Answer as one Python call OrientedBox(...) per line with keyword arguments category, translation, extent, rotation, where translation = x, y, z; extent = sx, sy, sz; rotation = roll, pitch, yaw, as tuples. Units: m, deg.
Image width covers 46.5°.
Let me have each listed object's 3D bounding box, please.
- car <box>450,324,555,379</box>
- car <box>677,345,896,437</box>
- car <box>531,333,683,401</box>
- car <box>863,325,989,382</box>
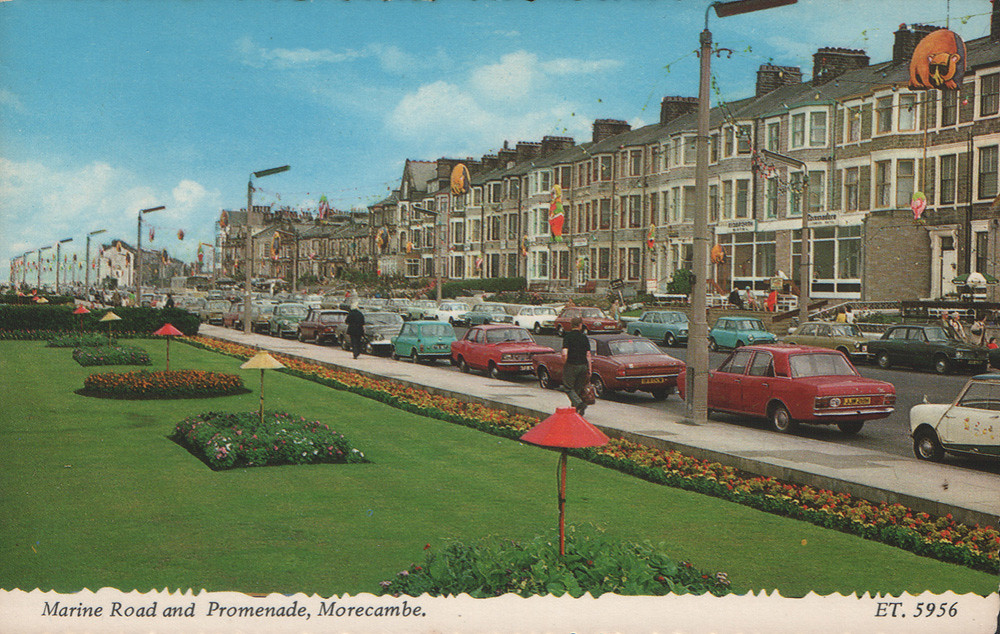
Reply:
OrientedBox(category="car", translation=(-0.098, 1.136, 41.662), extent=(2.021, 1.652, 4.654), rotation=(0, 0, -24))
OrientedBox(category="car", translation=(7.813, 1.842, 32.451), extent=(3.123, 1.902, 5.780), rotation=(-1, 3, -27))
OrientedBox(category="car", translation=(3.495, 1.433, 37.802), extent=(2.875, 1.671, 5.116), rotation=(-2, 3, -30))
OrientedBox(category="car", translation=(15.778, 1.258, 43.184), extent=(1.869, 1.598, 4.218), rotation=(0, 0, -16))
